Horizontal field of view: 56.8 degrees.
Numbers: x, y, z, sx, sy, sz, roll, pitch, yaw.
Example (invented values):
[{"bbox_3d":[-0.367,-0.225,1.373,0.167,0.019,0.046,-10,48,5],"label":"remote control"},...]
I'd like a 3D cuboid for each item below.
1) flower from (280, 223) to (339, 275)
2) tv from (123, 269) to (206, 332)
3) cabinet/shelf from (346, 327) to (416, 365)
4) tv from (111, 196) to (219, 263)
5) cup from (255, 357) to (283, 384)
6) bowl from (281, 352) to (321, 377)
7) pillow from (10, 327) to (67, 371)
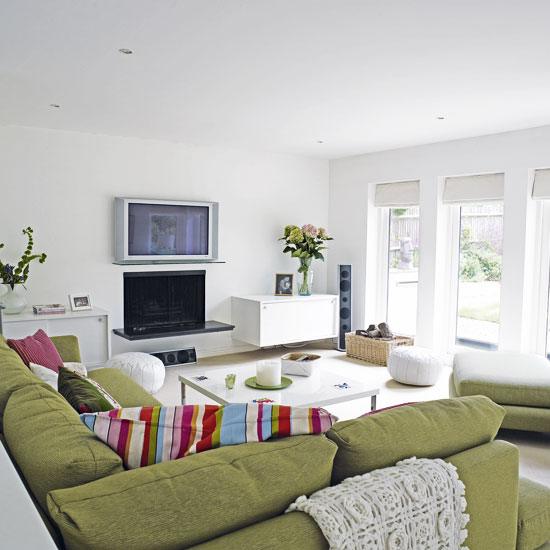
[{"bbox_3d":[0.367,-0.312,6.189,0.597,0.598,0.600,-4,8,-6],"label":"flower"},{"bbox_3d":[-1.207,0.263,5.345,0.742,0.469,0.117,-1,5,-28],"label":"tv"},{"bbox_3d":[1.102,0.779,5.559,0.350,0.196,0.501,-1,1,-36],"label":"cabinet/shelf"},{"bbox_3d":[-1.094,-0.447,5.307,1.140,0.718,0.076,6,1,-36],"label":"tv"},{"bbox_3d":[-0.035,0.601,3.183,0.162,0.120,0.143,-3,7,-19],"label":"cup"},{"bbox_3d":[0.173,0.605,3.477,0.184,0.075,0.173,0,4,0],"label":"bowl"},{"bbox_3d":[-1.378,0.428,2.938,0.056,0.179,0.173,-41,-11,15],"label":"pillow"}]
